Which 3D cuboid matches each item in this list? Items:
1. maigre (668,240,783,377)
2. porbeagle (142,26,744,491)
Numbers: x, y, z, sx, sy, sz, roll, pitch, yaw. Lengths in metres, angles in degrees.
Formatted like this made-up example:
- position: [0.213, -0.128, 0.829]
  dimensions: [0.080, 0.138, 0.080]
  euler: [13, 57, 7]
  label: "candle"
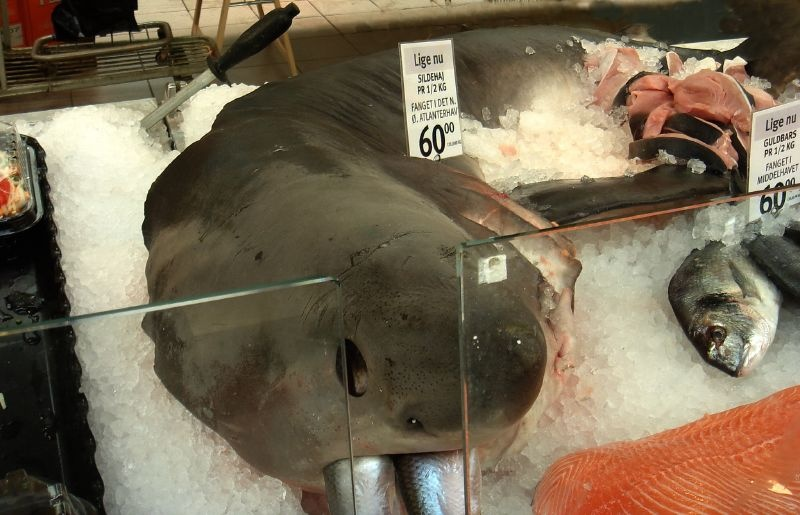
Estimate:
- position: [0.529, 0.085, 1.234]
  dimensions: [0.166, 0.090, 0.241]
  euler: [6, 66, -11]
  label: "maigre"
- position: [-0.146, -0.070, 1.395]
  dimensions: [0.949, 0.268, 0.903]
  euler: [-14, 39, -12]
  label: "porbeagle"
